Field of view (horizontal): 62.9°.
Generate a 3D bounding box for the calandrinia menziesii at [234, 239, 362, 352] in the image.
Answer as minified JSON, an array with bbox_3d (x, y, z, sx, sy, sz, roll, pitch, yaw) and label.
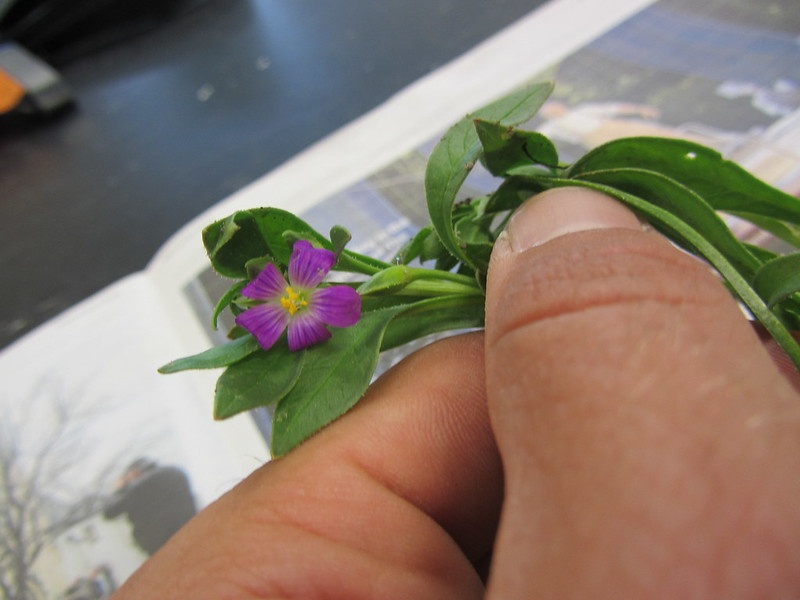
[{"bbox_3d":[-0.097,-0.018,0.637,0.113,0.138,0.041,-9,87,6],"label":"calandrinia menziesii"}]
